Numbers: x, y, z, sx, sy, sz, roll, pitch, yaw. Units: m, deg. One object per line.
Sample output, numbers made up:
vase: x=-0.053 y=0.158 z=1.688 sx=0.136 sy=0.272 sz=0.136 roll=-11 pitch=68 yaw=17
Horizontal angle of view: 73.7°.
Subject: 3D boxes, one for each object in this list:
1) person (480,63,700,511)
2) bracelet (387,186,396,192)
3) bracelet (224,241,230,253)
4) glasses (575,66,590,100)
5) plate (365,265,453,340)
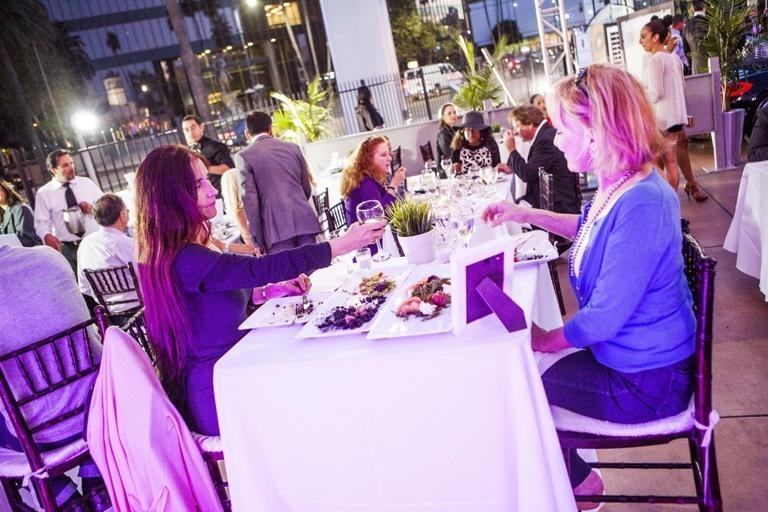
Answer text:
person: x=1.058 y=0.223 z=2.359 sx=0.643 sy=2.125 sz=0.661 roll=-1 pitch=16 yaw=32
bracelet: x=0.071 y=-0.611 z=4.653 sx=0.050 sy=0.040 sz=0.052 roll=0 pitch=0 yaw=7
bracelet: x=-1.337 y=-0.080 z=4.362 sx=0.035 sy=0.115 sz=0.082 roll=6 pitch=6 yaw=-8
glasses: x=0.844 y=-0.733 z=2.178 sx=0.042 sy=0.113 sz=0.081 roll=-7 pitch=-20 yaw=32
plate: x=0.123 y=0.286 z=2.283 sx=0.267 sy=0.044 sz=0.554 roll=-6 pitch=34 yaw=23
